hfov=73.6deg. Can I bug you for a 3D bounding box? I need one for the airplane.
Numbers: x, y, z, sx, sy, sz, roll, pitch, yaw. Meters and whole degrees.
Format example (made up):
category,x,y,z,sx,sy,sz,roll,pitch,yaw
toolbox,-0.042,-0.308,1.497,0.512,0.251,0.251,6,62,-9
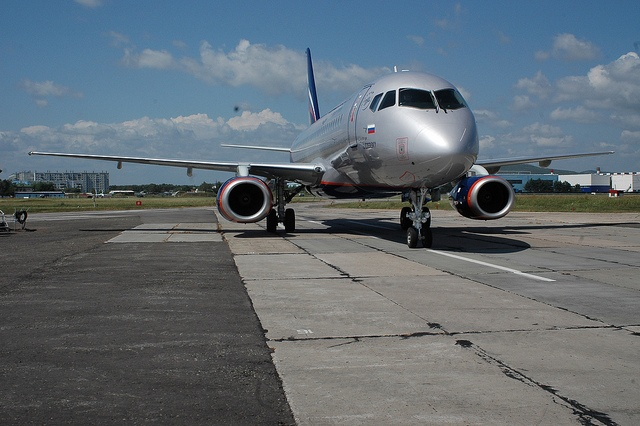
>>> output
category,x,y,z,sx,sy,sz,roll,pitch,yaw
airplane,0.745,-1.874,16.218,9.696,5.920,11.579,-3,6,-32
